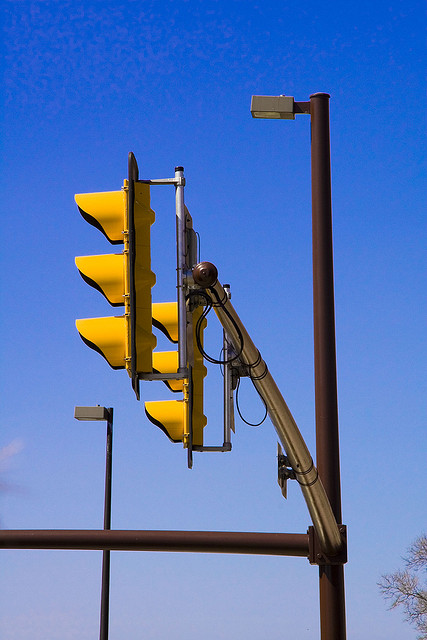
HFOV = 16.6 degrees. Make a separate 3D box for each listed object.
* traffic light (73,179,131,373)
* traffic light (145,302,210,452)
[{"bbox_3d":[-0.755,-0.334,9.701,0.312,0.308,1.460,-3,-62,-8],"label":"traffic light"},{"bbox_3d":[-0.317,0.522,12.318,0.524,1.556,0.328,-12,-42,12],"label":"traffic light"}]
